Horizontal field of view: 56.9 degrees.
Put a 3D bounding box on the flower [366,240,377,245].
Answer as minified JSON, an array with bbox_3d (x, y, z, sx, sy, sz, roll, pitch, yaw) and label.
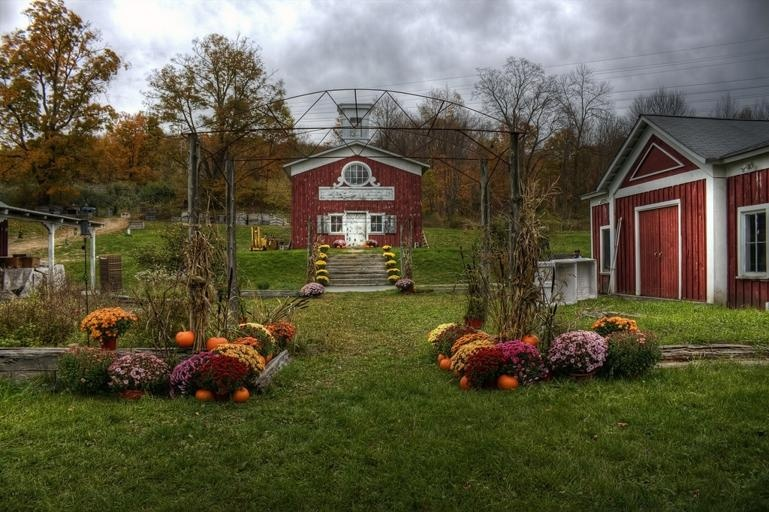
[{"bbox_3d":[-0.590,-0.677,36.834,0.381,0.345,0.836,0,-2,24],"label":"flower"}]

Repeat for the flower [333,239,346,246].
[{"bbox_3d":[-2.325,-0.658,36.685,0.380,0.296,0.388,2,-3,-22],"label":"flower"}]

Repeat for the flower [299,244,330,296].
[{"bbox_3d":[-2.533,0.727,26.989,0.623,0.708,2.146,11,30,-12],"label":"flower"}]
